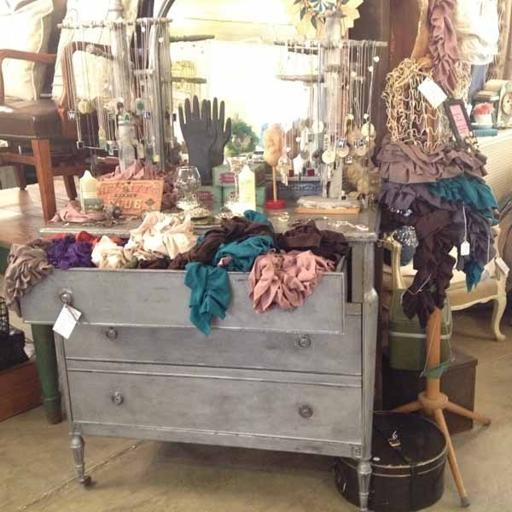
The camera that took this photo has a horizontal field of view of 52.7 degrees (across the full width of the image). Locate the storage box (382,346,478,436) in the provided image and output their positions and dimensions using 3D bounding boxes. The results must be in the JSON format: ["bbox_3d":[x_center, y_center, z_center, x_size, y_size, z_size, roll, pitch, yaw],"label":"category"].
[{"bbox_3d":[0.718,0.485,2.119,0.310,0.355,0.325,5,12,32],"label":"storage box"}]

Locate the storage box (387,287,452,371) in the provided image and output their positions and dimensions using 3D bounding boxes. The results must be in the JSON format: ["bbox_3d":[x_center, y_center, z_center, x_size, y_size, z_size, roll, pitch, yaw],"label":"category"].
[{"bbox_3d":[0.590,0.223,1.871,0.317,0.242,0.254,1,29,20],"label":"storage box"}]

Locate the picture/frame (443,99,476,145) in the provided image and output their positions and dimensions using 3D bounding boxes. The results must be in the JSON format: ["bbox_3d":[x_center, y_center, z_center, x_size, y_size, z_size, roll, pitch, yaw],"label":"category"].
[{"bbox_3d":[0.709,-0.474,1.816,0.085,0.153,0.146,8,17,36],"label":"picture/frame"}]

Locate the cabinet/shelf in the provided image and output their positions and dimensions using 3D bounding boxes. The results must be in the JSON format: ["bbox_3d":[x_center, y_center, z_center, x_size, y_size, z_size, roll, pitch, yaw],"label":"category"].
[{"bbox_3d":[-0.083,0.082,1.772,0.950,0.970,0.863,1,16,13],"label":"cabinet/shelf"}]

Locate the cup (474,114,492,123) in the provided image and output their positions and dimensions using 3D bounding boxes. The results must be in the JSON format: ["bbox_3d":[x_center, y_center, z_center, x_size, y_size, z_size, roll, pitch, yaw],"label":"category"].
[{"bbox_3d":[1.233,-0.736,2.797,0.051,0.038,0.056,0,12,0],"label":"cup"}]

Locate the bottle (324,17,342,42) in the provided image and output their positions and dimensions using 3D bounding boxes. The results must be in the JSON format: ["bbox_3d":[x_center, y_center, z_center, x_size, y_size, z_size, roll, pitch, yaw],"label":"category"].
[{"bbox_3d":[0.277,-0.801,1.847,0.063,0.102,0.104,1,14,9],"label":"bottle"}]
